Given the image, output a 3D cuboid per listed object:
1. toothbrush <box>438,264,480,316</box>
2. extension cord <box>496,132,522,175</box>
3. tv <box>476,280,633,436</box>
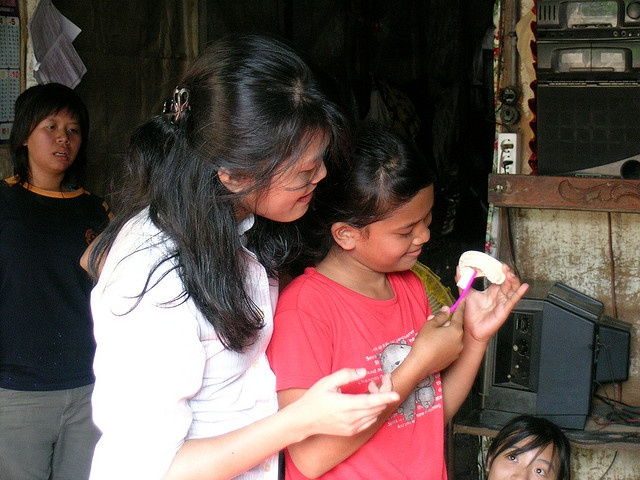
[{"bbox_3d":[0.494,0.192,2.181,0.064,0.220,0.052,35,-17,-11],"label":"toothbrush"},{"bbox_3d":[0.961,-0.446,3.202,0.097,0.253,0.026,5,44,20],"label":"extension cord"},{"bbox_3d":[1.125,0.422,2.934,0.586,0.519,0.673,2,18,26],"label":"tv"}]
